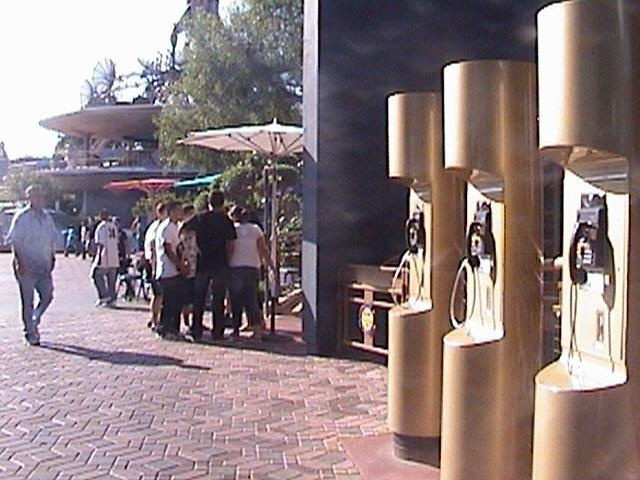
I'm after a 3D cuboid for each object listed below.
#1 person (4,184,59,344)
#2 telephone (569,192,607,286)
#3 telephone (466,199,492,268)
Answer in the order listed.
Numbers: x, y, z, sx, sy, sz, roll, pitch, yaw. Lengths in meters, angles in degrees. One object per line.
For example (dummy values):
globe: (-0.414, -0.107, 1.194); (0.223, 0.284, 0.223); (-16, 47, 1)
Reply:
person: (-4.264, 0.348, 9.390); (0.656, 2.311, 1.159); (-1, 1, -24)
telephone: (1.326, -0.009, 3.105); (0.100, 0.376, 0.227); (2, 0, -37)
telephone: (1.025, -0.039, 4.071); (0.119, 0.425, 0.294); (0, 1, -4)
